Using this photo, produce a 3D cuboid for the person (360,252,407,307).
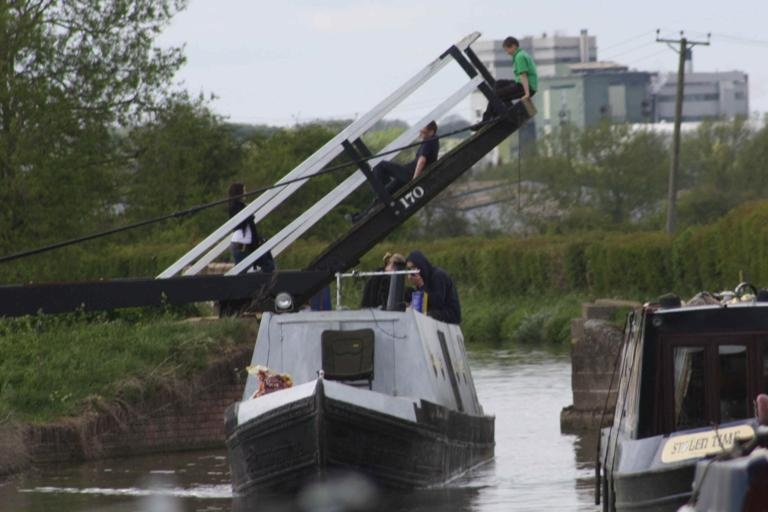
[{"bbox_3d":[-0.095,0.646,83.045,1.116,1.214,3.548,-6,-37,-15],"label":"person"}]
